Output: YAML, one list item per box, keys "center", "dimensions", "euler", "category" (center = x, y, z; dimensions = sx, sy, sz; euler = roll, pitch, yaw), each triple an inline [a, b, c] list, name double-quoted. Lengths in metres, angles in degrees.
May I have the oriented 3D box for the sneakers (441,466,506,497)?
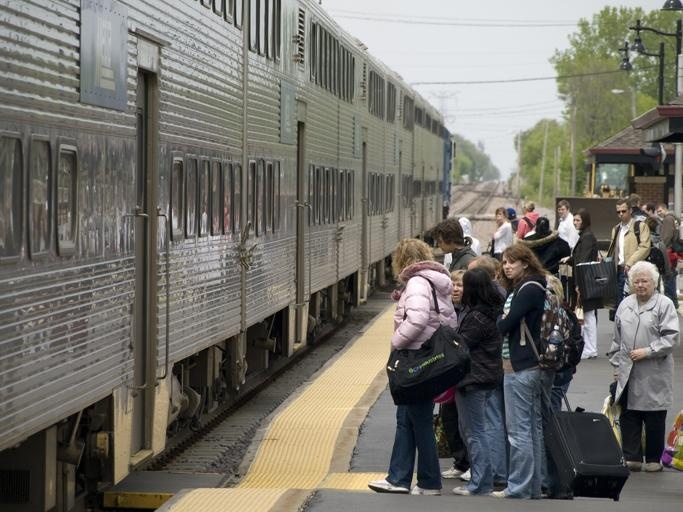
- center: [1.187, 2.002, 7.107]
  dimensions: [0.557, 0.314, 0.202]
  euler: [4, 0, 7]
  category: "sneakers"

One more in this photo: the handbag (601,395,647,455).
- center: [2.557, 1.562, 7.170]
  dimensions: [0.474, 0.298, 0.755]
  euler: [1, 3, 13]
  category: "handbag"

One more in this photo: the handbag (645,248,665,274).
- center: [4.140, 0.037, 10.382]
  dimensions: [0.162, 0.367, 0.238]
  euler: [-9, 18, 1]
  category: "handbag"

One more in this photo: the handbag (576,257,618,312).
- center: [3.700, 0.400, 11.351]
  dimensions: [0.564, 0.699, 0.261]
  euler: [-6, 9, 0]
  category: "handbag"
